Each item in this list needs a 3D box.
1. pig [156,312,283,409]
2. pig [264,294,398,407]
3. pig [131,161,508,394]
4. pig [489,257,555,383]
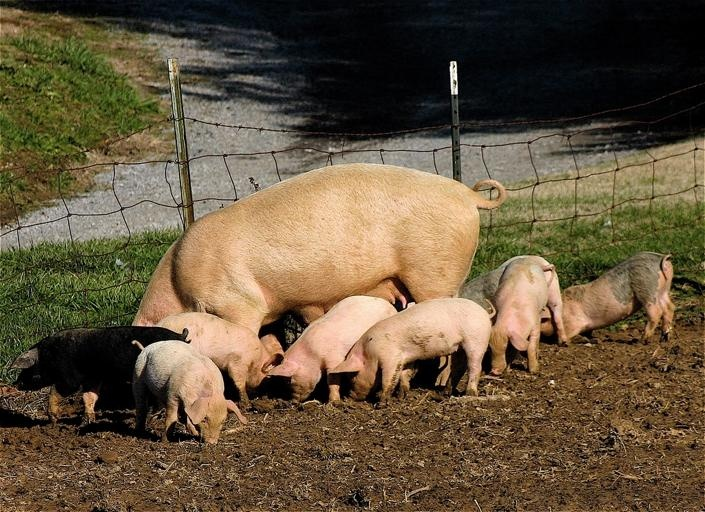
[{"bbox_3d":[-1.682,1.143,16.959,1.652,1.131,1.403,-8,11,-43],"label":"pig"},{"bbox_3d":[-0.114,1.093,16.811,1.370,1.301,1.557,12,12,39],"label":"pig"},{"bbox_3d":[-0.384,-0.076,16.515,5.580,2.651,1.639,-12,24,2],"label":"pig"},{"bbox_3d":[2.142,0.738,17.385,0.745,1.124,2.260,7,30,19],"label":"pig"}]
